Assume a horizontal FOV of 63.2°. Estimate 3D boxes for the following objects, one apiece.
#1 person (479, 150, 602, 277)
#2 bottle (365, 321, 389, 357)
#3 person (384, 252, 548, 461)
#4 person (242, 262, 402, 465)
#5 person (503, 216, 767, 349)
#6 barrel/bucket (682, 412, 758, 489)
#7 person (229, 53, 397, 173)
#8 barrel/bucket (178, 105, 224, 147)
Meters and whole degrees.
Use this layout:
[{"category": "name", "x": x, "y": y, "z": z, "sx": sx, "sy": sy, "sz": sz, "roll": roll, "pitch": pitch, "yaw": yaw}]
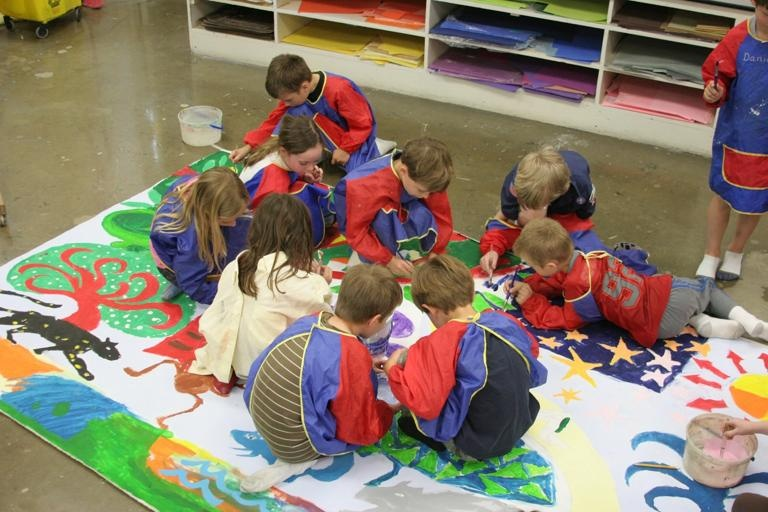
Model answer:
[{"category": "person", "x": 0.859, "y": -0.277, "z": 3.465, "sx": 0.661, "sy": 0.691, "sz": 0.713, "roll": 10, "pitch": -7, "yaw": 15}, {"category": "bottle", "x": -0.035, "y": 0.359, "z": 2.727, "sx": 0.095, "sy": 0.161, "sz": 0.123, "roll": 7, "pitch": 42, "yaw": 15}, {"category": "person", "x": 0.359, "y": 0.438, "z": 2.676, "sx": 0.771, "sy": 0.796, "sz": 0.537, "roll": -18, "pitch": 25, "yaw": -31}, {"category": "person", "x": -0.234, "y": 0.468, "z": 2.535, "sx": 0.650, "sy": 0.822, "sz": 0.311, "roll": -1, "pitch": 22, "yaw": -14}, {"category": "person", "x": 1.163, "y": 0.061, "z": 3.186, "sx": 1.318, "sy": 0.548, "sz": 0.571, "roll": 4, "pitch": 33, "yaw": 16}, {"category": "barrel/bucket", "x": 1.386, "y": 0.832, "z": 2.592, "sx": 0.259, "sy": 0.165, "sz": 0.252, "roll": -4, "pitch": 24, "yaw": 2}, {"category": "person", "x": -0.404, "y": -1.009, "z": 4.016, "sx": 0.943, "sy": 0.717, "sz": 0.613, "roll": -25, "pitch": 42, "yaw": -15}, {"category": "barrel/bucket", "x": -1.247, "y": -0.863, "z": 4.361, "sx": 0.283, "sy": 0.172, "sz": 0.285, "roll": 3, "pitch": 10, "yaw": 0}]
